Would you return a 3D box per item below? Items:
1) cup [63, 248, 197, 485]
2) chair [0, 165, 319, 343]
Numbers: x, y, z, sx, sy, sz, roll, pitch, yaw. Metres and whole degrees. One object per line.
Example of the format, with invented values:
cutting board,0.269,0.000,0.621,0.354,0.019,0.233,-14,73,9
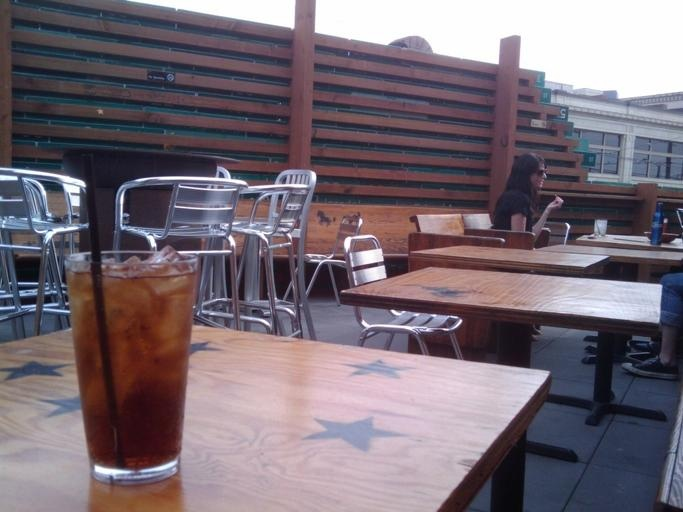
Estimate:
cup,-0.182,0.099,0.477,0.104,0.189,0.081,0,13,-23
chair,-0.785,-0.064,2.807,1.528,0.559,1.331,1,2,20
